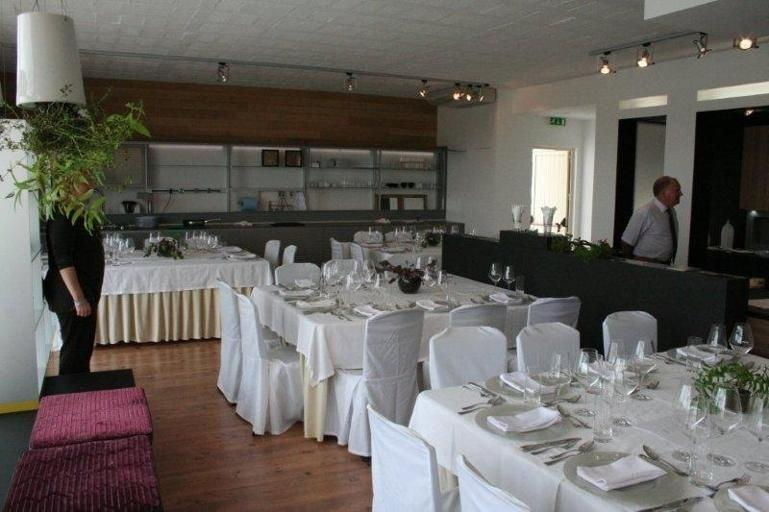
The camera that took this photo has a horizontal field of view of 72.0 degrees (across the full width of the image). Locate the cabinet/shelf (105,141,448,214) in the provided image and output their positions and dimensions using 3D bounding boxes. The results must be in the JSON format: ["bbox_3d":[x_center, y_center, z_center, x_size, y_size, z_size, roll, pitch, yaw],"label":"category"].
[{"bbox_3d":[-2.087,-1.595,11.001,6.601,1.517,0.541,-1,5,-19],"label":"cabinet/shelf"}]

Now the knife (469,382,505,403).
[{"bbox_3d":[0.576,0.764,3.008,0.069,0.022,0.184,-10,10,-26],"label":"knife"}]

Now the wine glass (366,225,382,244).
[{"bbox_3d":[-0.167,-0.370,8.932,0.297,0.317,0.289,1,-6,-4],"label":"wine glass"}]

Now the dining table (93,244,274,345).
[{"bbox_3d":[-2.595,0.488,6.337,1.401,0.593,1.389,-2,6,-31],"label":"dining table"}]

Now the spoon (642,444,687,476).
[{"bbox_3d":[1.270,0.934,2.418,0.052,0.034,0.226,-13,17,-18],"label":"spoon"}]

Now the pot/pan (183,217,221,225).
[{"bbox_3d":[-3.485,-0.639,9.939,0.608,0.171,0.954,0,3,-5],"label":"pot/pan"}]
